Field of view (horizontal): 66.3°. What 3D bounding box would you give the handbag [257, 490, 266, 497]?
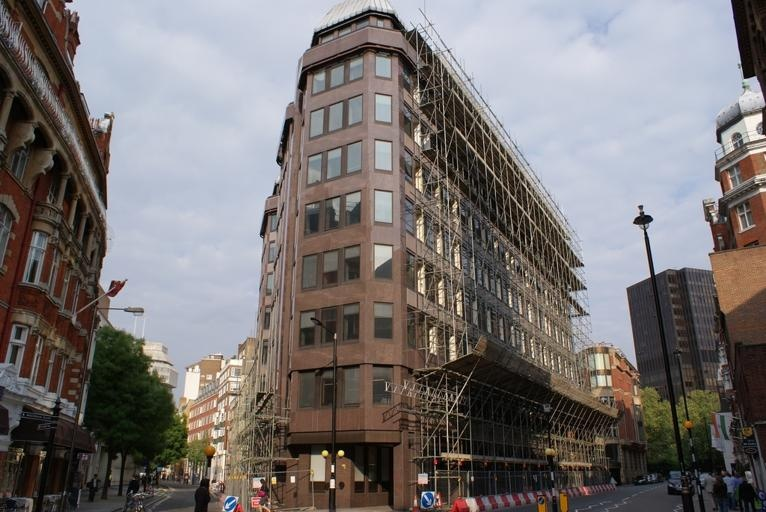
[{"bbox_3d":[-8.642,16.943,41.637,0.516,0.278,0.719,-1,-12,2],"label":"handbag"}]
